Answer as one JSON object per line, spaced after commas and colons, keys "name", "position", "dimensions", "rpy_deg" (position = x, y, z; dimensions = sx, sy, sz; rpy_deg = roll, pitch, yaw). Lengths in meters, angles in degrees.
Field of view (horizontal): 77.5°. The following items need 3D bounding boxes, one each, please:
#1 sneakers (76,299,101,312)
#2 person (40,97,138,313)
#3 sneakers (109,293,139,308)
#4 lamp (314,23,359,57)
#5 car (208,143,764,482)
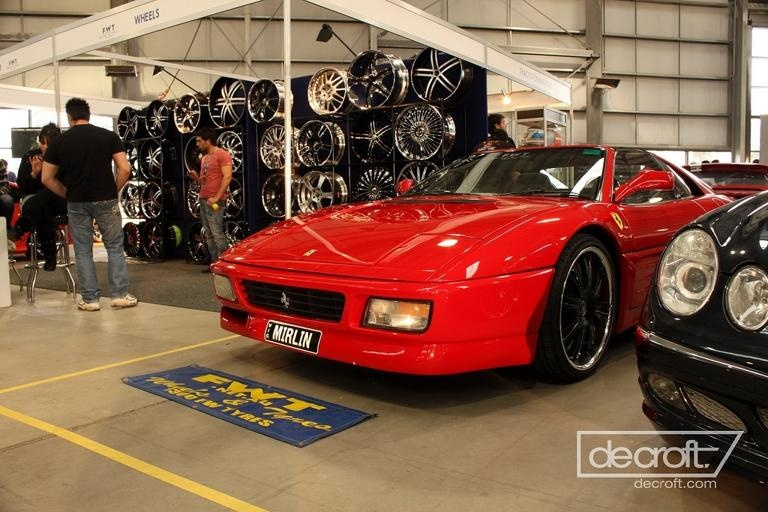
{"name": "sneakers", "position": [-3.094, 0.523, 5.046], "dimensions": [0.268, 0.116, 0.110], "rpy_deg": [7, 9, 34]}
{"name": "person", "position": [-3.028, -0.529, 5.002], "dimensions": [0.707, 2.191, 0.407], "rpy_deg": [-1, 9, 6]}
{"name": "sneakers", "position": [-2.779, 0.488, 5.160], "dimensions": [0.136, 0.115, 0.251], "rpy_deg": [-4, -4, 20]}
{"name": "lamp", "position": [-1.512, -7.122, 15.387], "dimensions": [1.070, 1.029, 1.175], "rpy_deg": [-1, 9, 3]}
{"name": "car", "position": [0.414, 0.070, 2.949], "dimensions": [3.275, 0.952, 1.672], "rpy_deg": [-1, -1, -31]}
